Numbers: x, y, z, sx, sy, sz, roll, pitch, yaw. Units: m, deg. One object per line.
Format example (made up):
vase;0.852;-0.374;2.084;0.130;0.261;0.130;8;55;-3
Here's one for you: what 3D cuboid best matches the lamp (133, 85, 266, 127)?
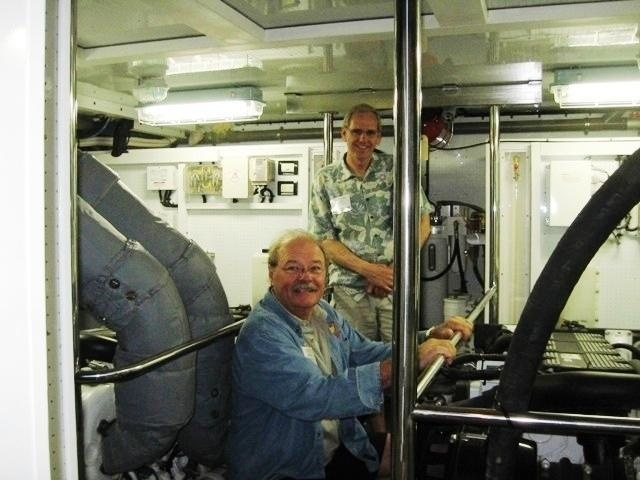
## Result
lamp;-1.093;-1.245;5.342;1.217;0.243;0.479;0;2;16
